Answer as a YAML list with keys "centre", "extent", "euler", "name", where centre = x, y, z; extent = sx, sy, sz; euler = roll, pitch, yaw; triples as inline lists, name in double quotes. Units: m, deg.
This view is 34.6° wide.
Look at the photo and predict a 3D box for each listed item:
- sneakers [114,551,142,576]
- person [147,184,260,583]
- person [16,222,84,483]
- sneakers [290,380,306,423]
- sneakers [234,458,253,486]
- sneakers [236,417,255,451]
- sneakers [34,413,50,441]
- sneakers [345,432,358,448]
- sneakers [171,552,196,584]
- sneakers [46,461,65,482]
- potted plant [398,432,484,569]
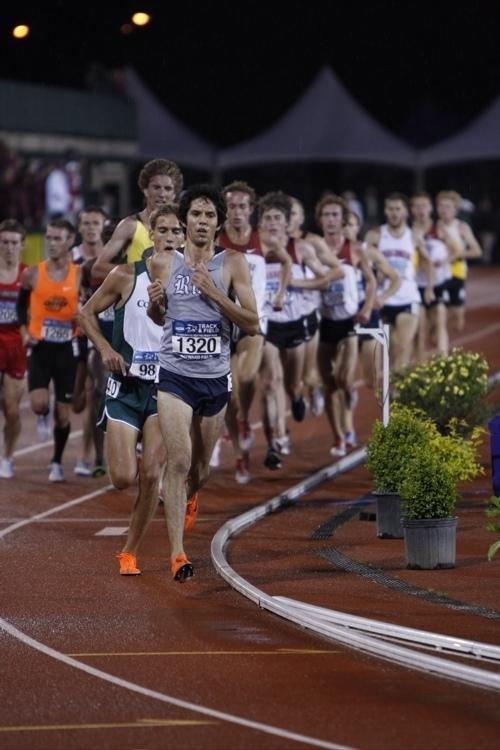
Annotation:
- centre: [-0.674, 1.046, 4.519]
  extent: [0.166, 0.145, 0.127]
  euler: [0, 10, -2]
  name: "sneakers"
- centre: [-0.248, -0.014, 4.146]
  extent: [0.553, 1.925, 0.954]
  euler: [1, 1, -14]
  name: "person"
- centre: [-1.891, -0.242, 7.609]
  extent: [0.575, 2.483, 0.453]
  euler: [1, 1, -20]
  name: "person"
- centre: [0.581, 0.298, 9.250]
  extent: [0.171, 0.477, 0.229]
  euler: [0, 3, 27]
  name: "sneakers"
- centre: [-0.067, 0.880, 7.327]
  extent: [0.103, 0.282, 0.121]
  euler: [-3, -39, 0]
  name: "sneakers"
- centre: [-0.037, 0.558, 7.561]
  extent: [0.111, 0.311, 0.128]
  euler: [-5, -11, -3]
  name: "sneakers"
- centre: [-2.325, 0.593, 9.032]
  extent: [0.158, 0.422, 0.188]
  euler: [-5, 12, -22]
  name: "sneakers"
- centre: [1.135, 0.729, 9.001]
  extent: [0.169, 0.193, 0.447]
  euler: [-1, -3, 6]
  name: "sneakers"
- centre: [-0.320, 0.935, 3.799]
  extent: [0.089, 0.157, 0.261]
  euler: [1, 1, -8]
  name: "sneakers"
- centre: [-1.835, 0.920, 7.619]
  extent: [0.143, 0.166, 0.224]
  euler: [1, 1, -14]
  name: "sneakers"
- centre: [1.085, 0.601, 4.672]
  extent: [0.523, 0.392, 0.892]
  euler: [0, 23, 1]
  name: "potted plant"
